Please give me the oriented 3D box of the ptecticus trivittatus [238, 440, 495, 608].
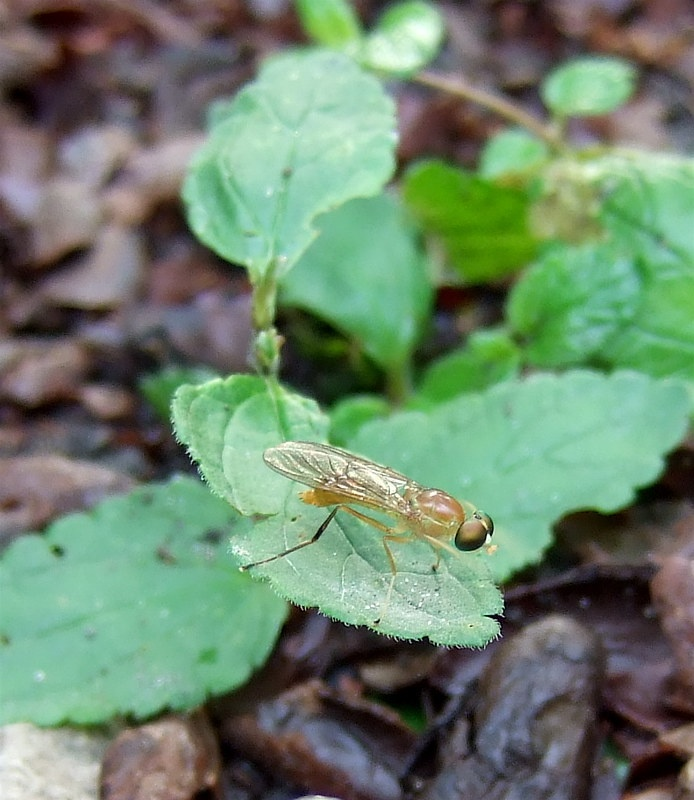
[{"bbox_3d":[0.041,0.181,1.649,0.441,0.292,0.107,19,117,33],"label":"ptecticus trivittatus"}]
